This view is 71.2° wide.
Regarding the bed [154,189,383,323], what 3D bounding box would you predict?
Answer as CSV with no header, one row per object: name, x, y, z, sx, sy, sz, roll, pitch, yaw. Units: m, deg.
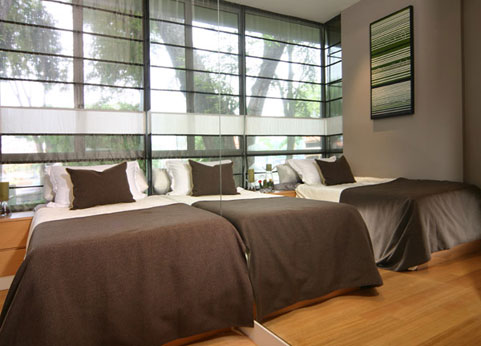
bed,0.276,0.693,3.613,1.286,0.840,2.238,-5,-1,-18
